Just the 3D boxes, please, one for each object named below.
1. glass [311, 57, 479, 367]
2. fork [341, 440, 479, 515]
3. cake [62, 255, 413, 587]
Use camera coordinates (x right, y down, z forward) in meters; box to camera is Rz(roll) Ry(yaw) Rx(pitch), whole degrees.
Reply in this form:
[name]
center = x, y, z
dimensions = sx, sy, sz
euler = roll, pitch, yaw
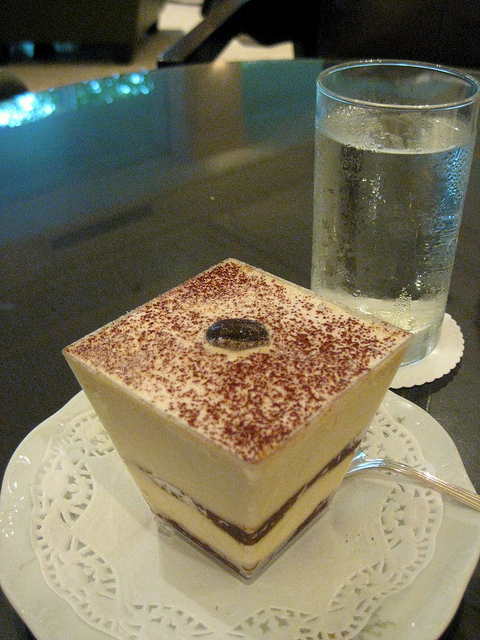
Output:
[glass]
center = 0.214, -0.139, 0.828
dimensions = 0.241, 0.382, 0.240
euler = 3, 33, 5
[fork]
center = 0.177, 0.167, 0.701
dimensions = 0.184, 0.015, 0.060
euler = 13, 43, 41
[cake]
center = 0.007, 0.070, 0.700
dimensions = 0.328, 0.299, 0.295
euler = 28, 46, 30
